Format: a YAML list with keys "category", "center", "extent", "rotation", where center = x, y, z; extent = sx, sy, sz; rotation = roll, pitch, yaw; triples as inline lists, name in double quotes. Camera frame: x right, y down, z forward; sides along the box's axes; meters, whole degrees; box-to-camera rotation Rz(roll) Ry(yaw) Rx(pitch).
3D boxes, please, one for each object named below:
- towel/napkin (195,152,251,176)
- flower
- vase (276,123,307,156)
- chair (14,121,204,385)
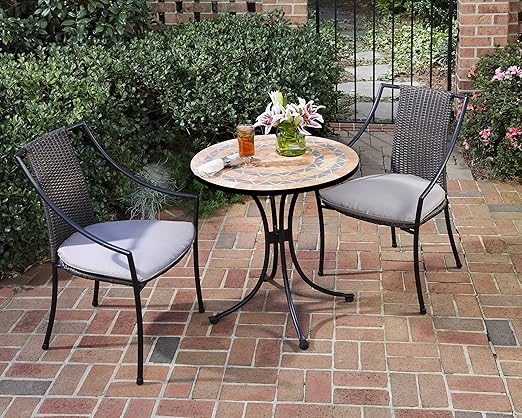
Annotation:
- category: "towel/napkin"
  center: [-0.220, -0.260, 2.690]
  extent: [0.295, 0.044, 0.114]
  rotation: [-15, 24, -40]
- category: "flower"
  center: [0.175, -0.546, 2.800]
  extent: [0.373, 0.298, 0.332]
  rotation: [2, 27, 3]
- category: "vase"
  center: [0.161, -0.427, 2.868]
  extent: [0.210, 0.163, 0.199]
  rotation: [11, 19, 36]
- category: "chair"
  center: [-0.916, 0.152, 2.710]
  extent: [0.958, 1.026, 0.770]
  rotation: [22, 28, 1]
